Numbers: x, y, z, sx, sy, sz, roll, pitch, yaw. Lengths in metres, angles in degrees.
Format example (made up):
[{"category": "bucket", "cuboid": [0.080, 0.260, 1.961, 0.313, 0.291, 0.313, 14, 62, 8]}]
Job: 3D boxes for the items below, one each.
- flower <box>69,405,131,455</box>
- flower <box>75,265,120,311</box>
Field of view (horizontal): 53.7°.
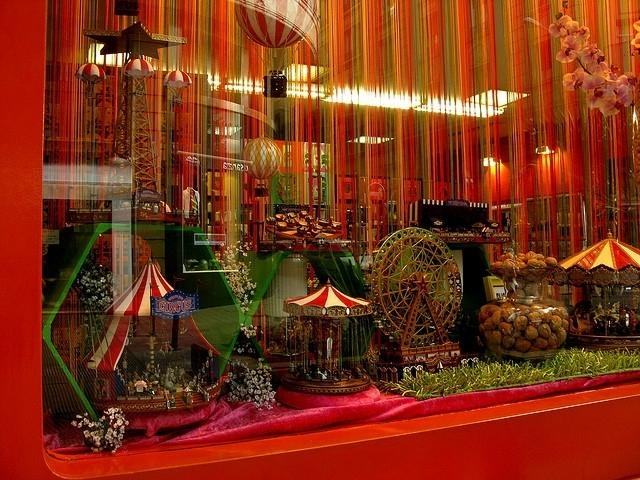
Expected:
[{"category": "flower", "cuboid": [-0.786, 0.648, 2.262, 0.141, 0.072, 0.137, 21, 17, 38]}, {"category": "flower", "cuboid": [-0.827, 0.174, 2.329, 0.108, 0.178, 0.079, 1, -5, -27]}]
